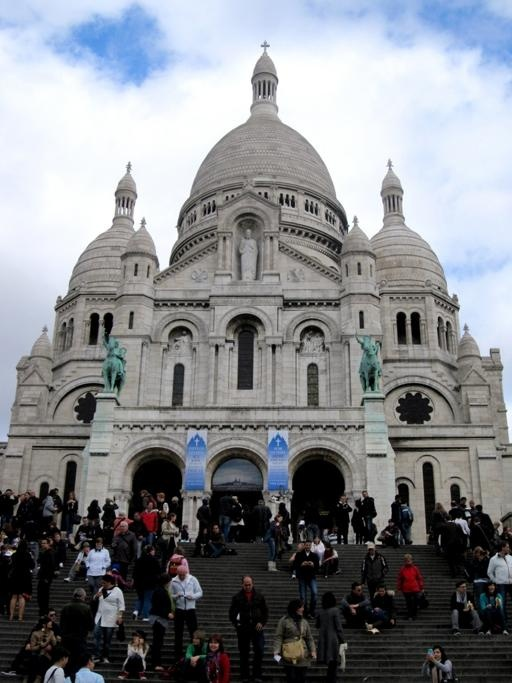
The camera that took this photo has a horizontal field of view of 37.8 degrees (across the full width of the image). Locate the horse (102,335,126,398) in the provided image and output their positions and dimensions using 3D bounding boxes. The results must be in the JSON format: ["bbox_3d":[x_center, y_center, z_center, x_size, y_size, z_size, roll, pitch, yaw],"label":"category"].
[{"bbox_3d":[-7.157,1.188,37.658,1.027,3.746,2.189,4,-25,-5],"label":"horse"}]

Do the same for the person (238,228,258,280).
[{"bbox_3d":[-0.436,-4.930,42.790,1.071,3.747,0.805,2,-25,-2],"label":"person"}]
